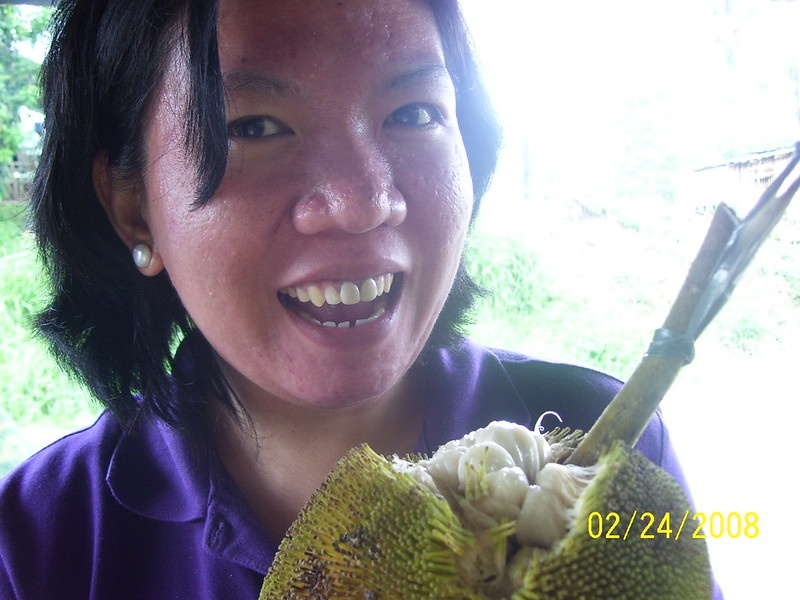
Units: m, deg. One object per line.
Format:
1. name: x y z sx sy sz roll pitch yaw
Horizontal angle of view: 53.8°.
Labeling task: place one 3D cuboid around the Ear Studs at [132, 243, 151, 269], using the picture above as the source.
1. Ear Studs: -0.558 -0.093 1.706 0.044 0.049 0.023 36 24 24
